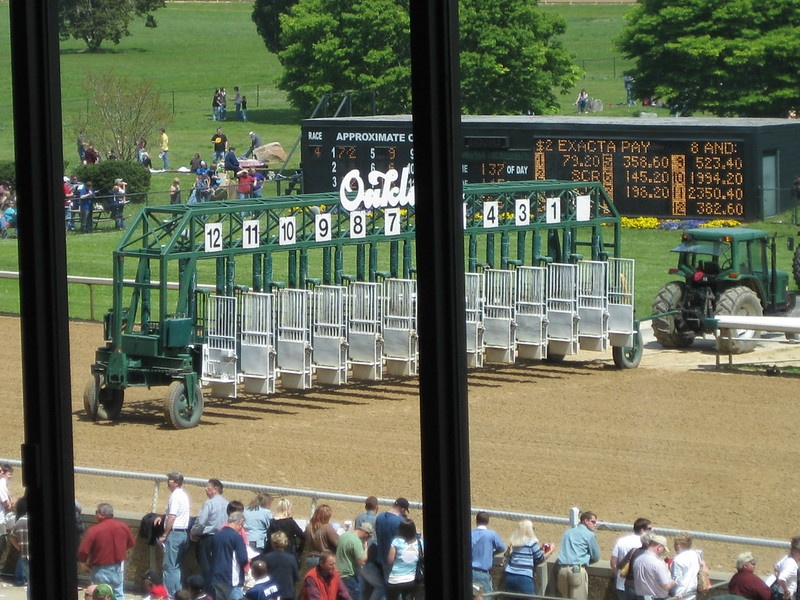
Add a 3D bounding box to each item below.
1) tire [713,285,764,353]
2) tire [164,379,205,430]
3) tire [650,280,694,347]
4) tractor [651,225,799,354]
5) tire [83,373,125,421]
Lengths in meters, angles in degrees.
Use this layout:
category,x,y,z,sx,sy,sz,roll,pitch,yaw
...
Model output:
category,x,y,z,sx,sy,sz,roll,pitch,yaw
tire,6.963,0.458,44.930,1.292,1.354,0.426,-17,13,-40
tire,-4.311,2.073,43.459,0.744,0.957,0.863,0,0,-7
tire,5.497,0.108,45.307,0.347,1.205,1.182,11,20,31
tractor,6.966,-0.370,45.934,1.864,2.307,3.457,5,12,40
tire,-5.960,1.936,43.898,0.715,0.978,1.357,0,1,6
